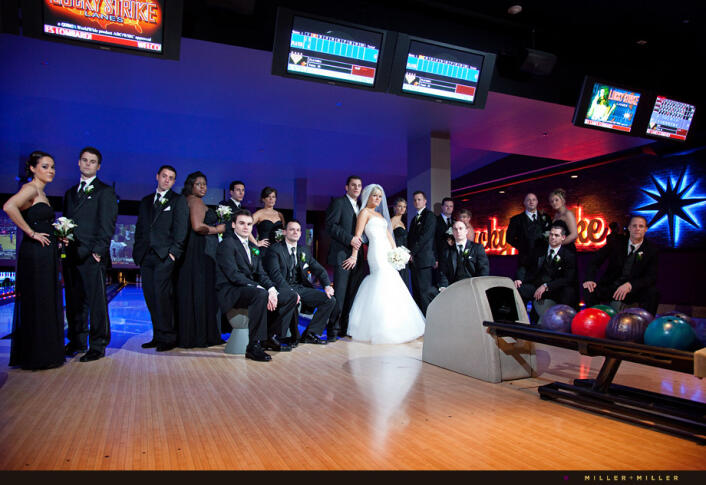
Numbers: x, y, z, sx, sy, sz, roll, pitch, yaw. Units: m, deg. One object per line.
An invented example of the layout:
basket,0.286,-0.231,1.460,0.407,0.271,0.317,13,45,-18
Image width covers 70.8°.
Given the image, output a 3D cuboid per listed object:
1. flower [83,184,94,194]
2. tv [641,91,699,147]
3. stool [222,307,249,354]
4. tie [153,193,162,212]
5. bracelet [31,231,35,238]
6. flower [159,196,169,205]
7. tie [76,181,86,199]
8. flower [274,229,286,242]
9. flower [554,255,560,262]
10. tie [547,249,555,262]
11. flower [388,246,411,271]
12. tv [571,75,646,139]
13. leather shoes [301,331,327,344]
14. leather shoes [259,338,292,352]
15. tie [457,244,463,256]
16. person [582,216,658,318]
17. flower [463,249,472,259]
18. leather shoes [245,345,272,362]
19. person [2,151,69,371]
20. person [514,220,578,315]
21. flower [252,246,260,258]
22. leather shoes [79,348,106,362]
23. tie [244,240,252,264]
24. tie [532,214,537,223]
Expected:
flower,-2.990,-0.602,5.604,0.091,0.089,0.032,-27,22,-15
tv,4.985,-1.948,7.830,1.007,0.656,0.206,-4,9,-29
stool,-1.374,1.027,5.836,0.279,0.545,0.207,-2,8,-10
tie,-2.367,-0.489,6.022,0.138,0.182,0.051,-9,-14,43
bracelet,-3.339,-0.086,5.203,0.033,0.065,0.034,-1,8,-6
flower,-2.289,-0.505,6.007,0.103,0.090,0.055,-3,9,-19
tie,-3.058,-0.587,5.617,0.106,0.171,0.042,0,-12,13
flower,-0.942,-0.093,6.333,0.116,0.149,0.159,2,0,-7
flower,2.673,0.208,6.531,0.089,0.086,0.021,6,-4,19
tie,2.607,0.155,6.578,0.027,0.113,0.089,3,-2,-16
flower,0.606,0.194,6.729,0.298,0.293,0.177,-3,-20,-6
tv,3.758,-2.009,7.347,1.205,0.757,0.177,-4,9,-25
leather shoes,-0.533,1.238,6.440,0.380,0.156,0.125,2,-4,-2
leather shoes,-0.939,1.234,6.021,0.415,0.169,0.144,1,-6,-1
tie,1.510,0.080,7.039,0.079,0.107,0.028,-11,-16,28
person,3.597,0.282,6.600,0.792,1.228,0.841,-8,11,-43
flower,1.608,0.156,7.013,0.087,0.045,0.117,-10,48,-3
leather shoes,-1.077,1.251,5.650,0.327,0.138,0.135,-3,-5,34
person,-3.387,0.181,5.233,0.562,2.258,0.597,-5,10,-30
person,2.583,0.364,6.667,0.763,1.288,0.954,0,8,3
flower,-1.229,0.121,6.237,0.042,0.115,0.121,-34,1,22
leather shoes,-2.905,1.243,5.527,0.262,0.125,0.221,-4,8,-29
tie,-1.253,0.112,5.921,0.062,0.213,0.158,-10,13,15
tie,2.793,-0.372,7.680,0.043,0.042,0.158,10,46,5
